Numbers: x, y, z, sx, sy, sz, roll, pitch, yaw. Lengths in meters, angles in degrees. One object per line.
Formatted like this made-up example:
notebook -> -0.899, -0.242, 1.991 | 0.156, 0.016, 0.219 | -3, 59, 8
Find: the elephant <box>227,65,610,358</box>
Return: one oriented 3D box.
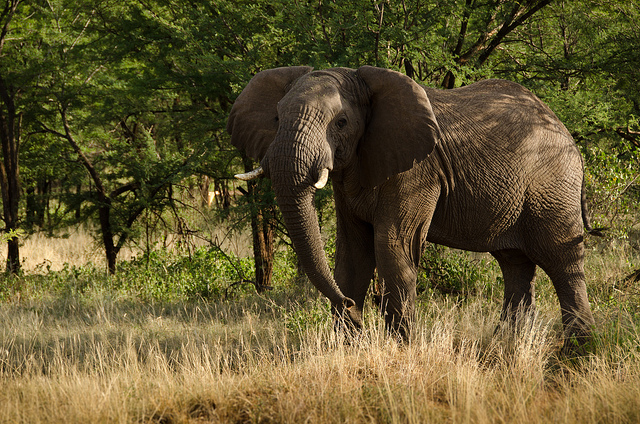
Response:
elephant -> 1.869, 0.094, 12.824 | 5.835, 4.650, 2.738 | 1, 3, -18
